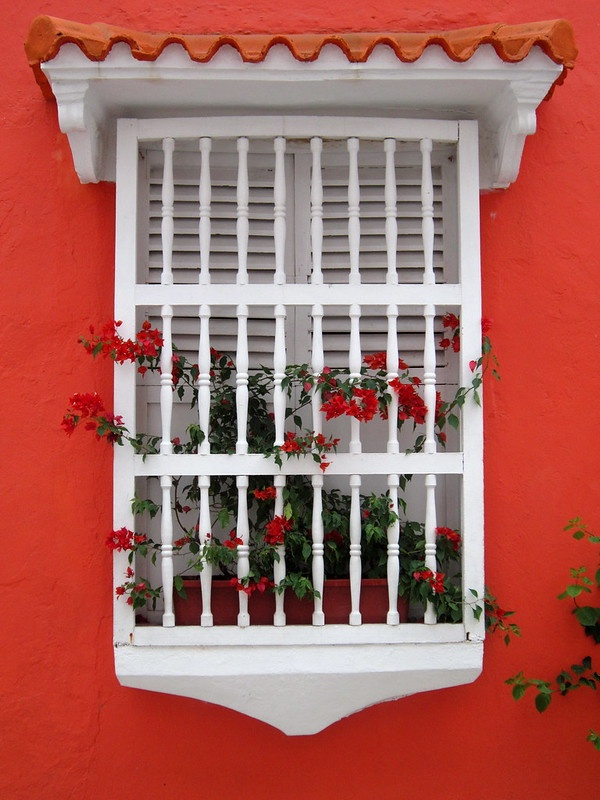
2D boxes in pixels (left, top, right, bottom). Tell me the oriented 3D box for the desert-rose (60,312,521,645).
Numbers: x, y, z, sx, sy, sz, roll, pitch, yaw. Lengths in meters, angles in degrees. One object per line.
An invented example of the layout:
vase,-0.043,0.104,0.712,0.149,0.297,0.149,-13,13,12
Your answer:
desert-rose,-0.040,0.237,4.412,1.374,1.022,0.453,0,1,-3

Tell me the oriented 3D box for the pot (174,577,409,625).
pot,-0.026,0.632,4.359,0.739,0.142,0.117,0,2,-3
